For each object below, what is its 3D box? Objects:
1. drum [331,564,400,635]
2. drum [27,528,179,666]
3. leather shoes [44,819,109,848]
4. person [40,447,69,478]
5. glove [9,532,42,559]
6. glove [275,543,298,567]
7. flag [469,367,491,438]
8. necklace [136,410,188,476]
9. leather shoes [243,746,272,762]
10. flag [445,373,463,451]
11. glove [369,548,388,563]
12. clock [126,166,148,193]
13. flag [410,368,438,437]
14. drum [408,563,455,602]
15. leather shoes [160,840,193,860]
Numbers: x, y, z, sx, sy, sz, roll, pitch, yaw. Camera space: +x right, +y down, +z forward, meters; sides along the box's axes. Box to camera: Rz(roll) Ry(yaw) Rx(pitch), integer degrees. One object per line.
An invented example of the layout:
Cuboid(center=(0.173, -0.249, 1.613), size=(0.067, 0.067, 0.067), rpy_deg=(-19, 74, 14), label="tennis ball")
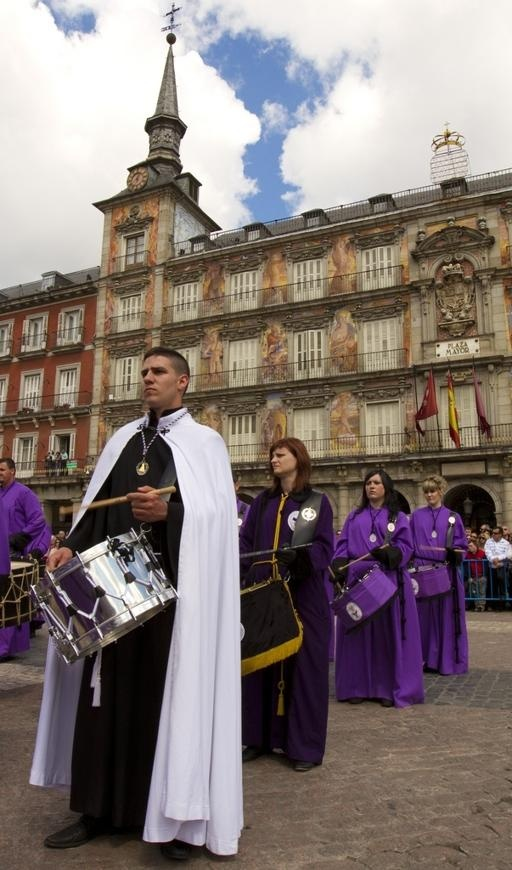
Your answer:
Cuboid(center=(0.894, 1.325, 5.796), size=(0.398, 0.296, 0.541), rpy_deg=(-41, -15, 9), label="drum")
Cuboid(center=(-0.559, 0.577, 2.867), size=(0.500, 0.349, 0.495), rpy_deg=(-29, -18, -10), label="drum")
Cuboid(center=(-0.708, 1.538, 2.774), size=(0.077, 0.087, 0.217), rpy_deg=(4, -14, 41), label="leather shoes")
Cuboid(center=(-9.155, 1.294, 32.268), size=(0.705, 1.372, 0.726), rpy_deg=(-7, -27, 18), label="person")
Cuboid(center=(-2.658, 1.292, 8.195), size=(0.357, 0.276, 0.131), rpy_deg=(21, 2, 1), label="glove")
Cuboid(center=(0.183, 0.752, 4.355), size=(0.122, 0.138, 0.188), rpy_deg=(-3, -7, 2), label="glove")
Cuboid(center=(7.174, -0.974, 22.528), size=(0.425, 2.153, 1.191), rpy_deg=(-4, -7, 17), label="flag")
Cuboid(center=(-0.430, 0.051, 3.263), size=(0.185, 0.305, 0.155), rpy_deg=(-11, -40, 22), label="necklace")
Cuboid(center=(0.006, 1.959, 4.357), size=(0.066, 0.077, 0.206), rpy_deg=(-21, -31, 32), label="leather shoes")
Cuboid(center=(6.318, -0.794, 22.758), size=(0.346, 2.509, 1.495), rpy_deg=(-4, -7, 16), label="flag")
Cuboid(center=(1.035, 1.012, 5.944), size=(0.133, 0.134, 0.127), rpy_deg=(-4, -7, 10), label="glove")
Cuboid(center=(-5.579, -11.808, 33.034), size=(1.090, 1.245, 0.431), rpy_deg=(-7, -8, 31), label="clock")
Cuboid(center=(5.534, -1.082, 23.228), size=(0.732, 2.167, 1.353), rpy_deg=(-4, -7, 14), label="flag")
Cuboid(center=(1.834, 1.464, 7.414), size=(0.468, 0.353, 0.312), rpy_deg=(-9, -8, 12), label="drum")
Cuboid(center=(-0.296, 1.572, 2.687), size=(0.050, 0.051, 0.116), rpy_deg=(16, -30, -36), label="leather shoes")
